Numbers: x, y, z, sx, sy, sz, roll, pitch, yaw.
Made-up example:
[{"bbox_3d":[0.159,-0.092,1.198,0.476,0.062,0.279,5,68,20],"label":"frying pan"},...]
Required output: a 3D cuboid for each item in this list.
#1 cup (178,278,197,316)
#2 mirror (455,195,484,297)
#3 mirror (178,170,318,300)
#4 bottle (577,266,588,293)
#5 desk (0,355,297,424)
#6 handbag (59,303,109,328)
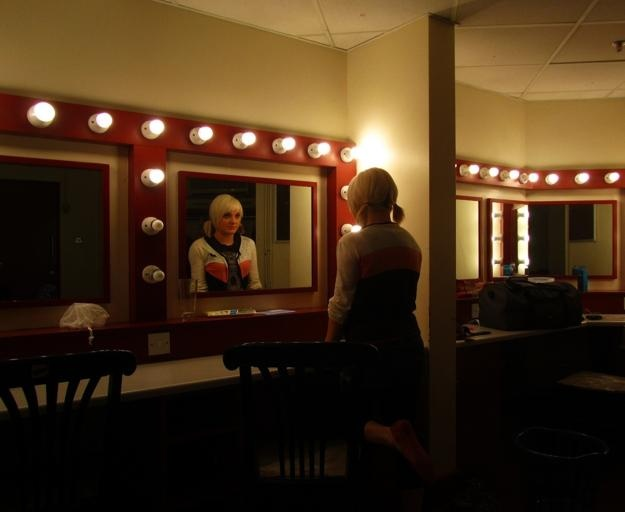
[{"bbox_3d":[-0.613,0.195,2.543,0.116,0.162,0.069,-1,0,35],"label":"cup"},{"bbox_3d":[1.004,-0.083,3.433,0.287,0.636,0.105,-1,0,-35],"label":"mirror"},{"bbox_3d":[-0.364,-0.104,2.755,0.619,0.566,0.027,-1,1,-30],"label":"mirror"},{"bbox_3d":[1.837,0.157,3.651,0.071,0.179,0.052,-1,0,0],"label":"bottle"},{"bbox_3d":[-0.683,0.545,2.424,1.212,0.274,0.172,1,-18,-46],"label":"desk"},{"bbox_3d":[-0.989,0.258,2.324,0.195,0.100,0.151,-2,1,-26],"label":"handbag"}]
